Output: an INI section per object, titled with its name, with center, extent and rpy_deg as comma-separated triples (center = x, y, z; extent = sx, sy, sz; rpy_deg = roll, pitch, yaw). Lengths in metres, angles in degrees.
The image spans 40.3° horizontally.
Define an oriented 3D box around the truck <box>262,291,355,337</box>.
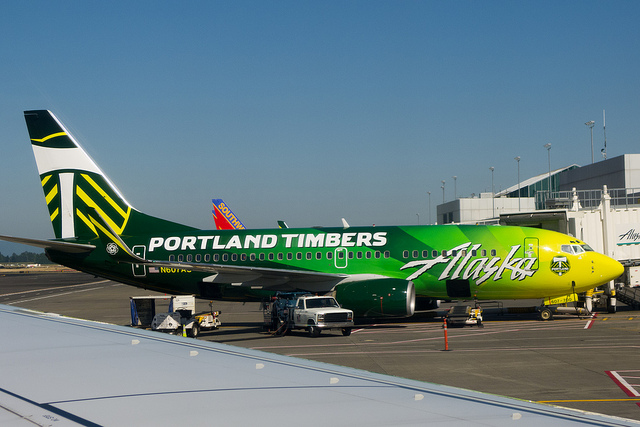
[truck]
center = -0.907, 5.488, 48.670
extent = 2.434, 1.315, 4.873
rpy_deg = 2, -4, -38
